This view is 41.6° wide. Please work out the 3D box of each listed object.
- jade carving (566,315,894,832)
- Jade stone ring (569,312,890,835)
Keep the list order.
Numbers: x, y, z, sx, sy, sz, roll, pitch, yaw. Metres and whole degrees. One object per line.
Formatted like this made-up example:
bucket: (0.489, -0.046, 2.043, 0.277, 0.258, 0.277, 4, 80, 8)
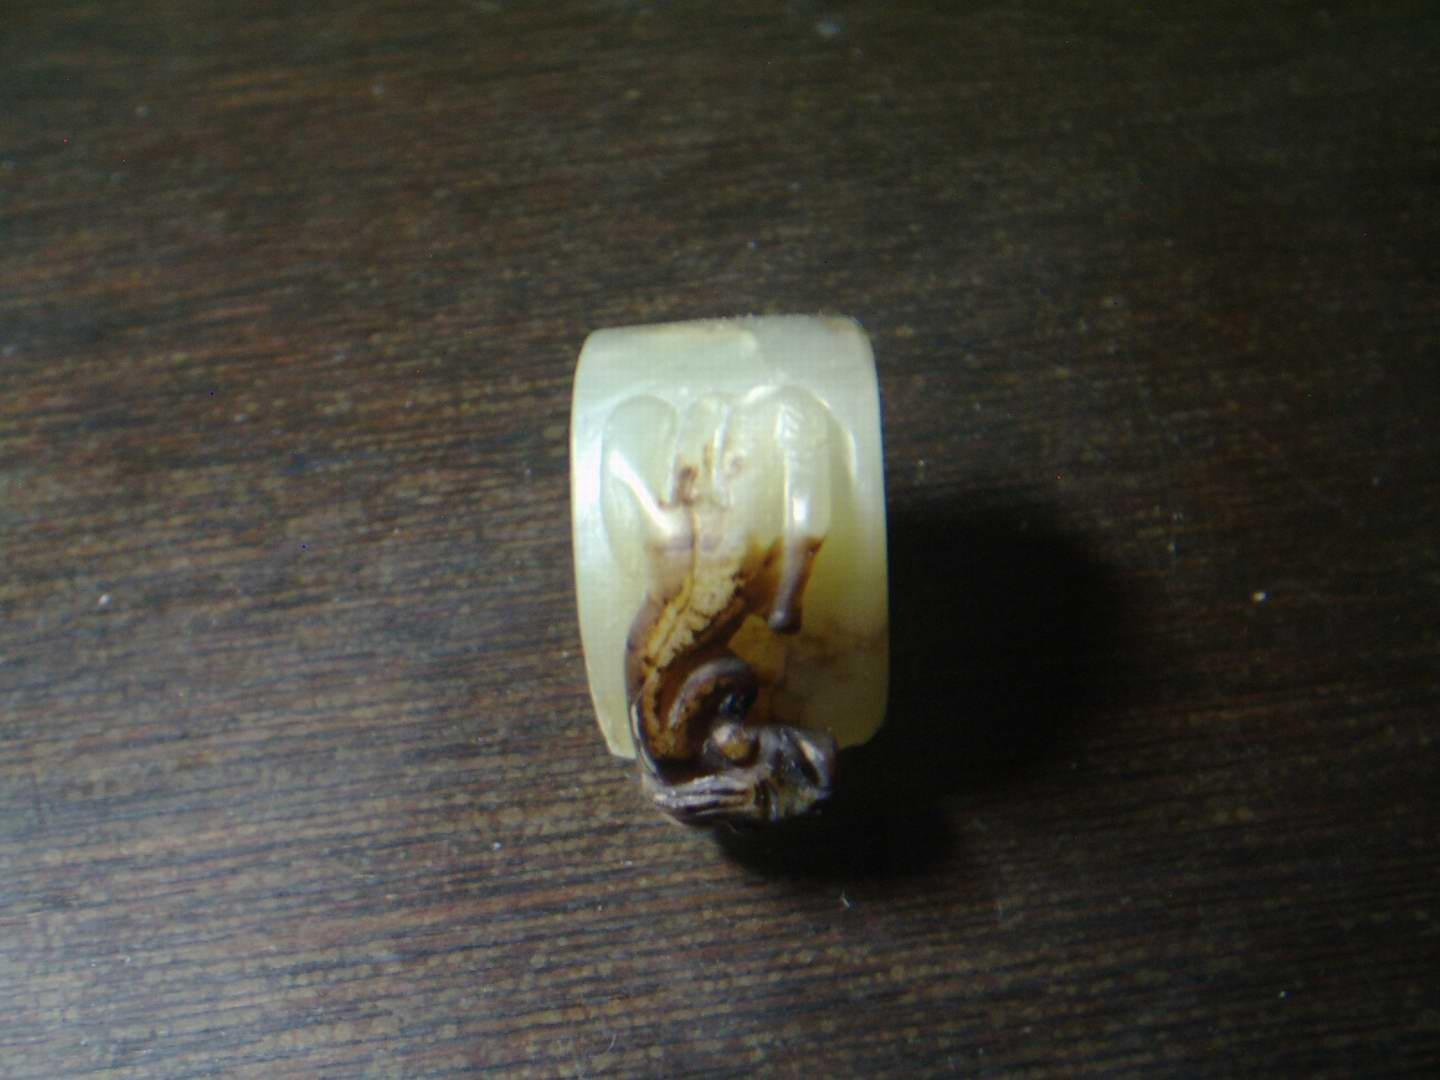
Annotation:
jade carving: (0.015, 0.025, 1.587, 0.279, 0.179, 0.406, -3, 87, 0)
Jade stone ring: (-0.028, 0.031, 1.668, 0.408, 0.395, 0.439, 0, 85, 4)
